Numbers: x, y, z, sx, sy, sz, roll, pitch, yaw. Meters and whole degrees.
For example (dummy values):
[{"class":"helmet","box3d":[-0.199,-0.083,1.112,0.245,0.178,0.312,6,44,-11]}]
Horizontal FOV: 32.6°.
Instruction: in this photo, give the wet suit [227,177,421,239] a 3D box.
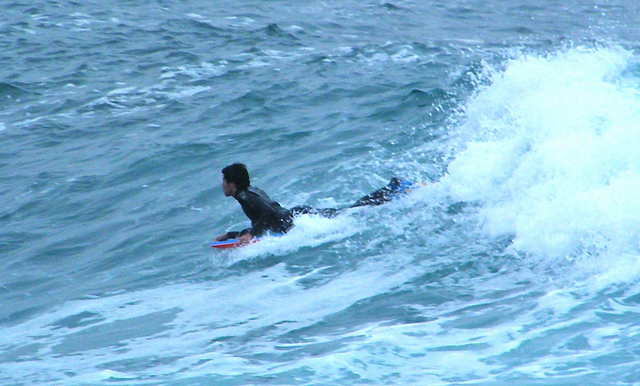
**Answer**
[{"class":"wet suit","box3d":[-0.177,0.075,28.780,4.708,0.992,1.527,-15,9,-1]}]

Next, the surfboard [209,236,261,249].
[{"class":"surfboard","box3d":[-2.205,1.273,28.340,1.315,0.290,0.208,-5,29,-1]}]
